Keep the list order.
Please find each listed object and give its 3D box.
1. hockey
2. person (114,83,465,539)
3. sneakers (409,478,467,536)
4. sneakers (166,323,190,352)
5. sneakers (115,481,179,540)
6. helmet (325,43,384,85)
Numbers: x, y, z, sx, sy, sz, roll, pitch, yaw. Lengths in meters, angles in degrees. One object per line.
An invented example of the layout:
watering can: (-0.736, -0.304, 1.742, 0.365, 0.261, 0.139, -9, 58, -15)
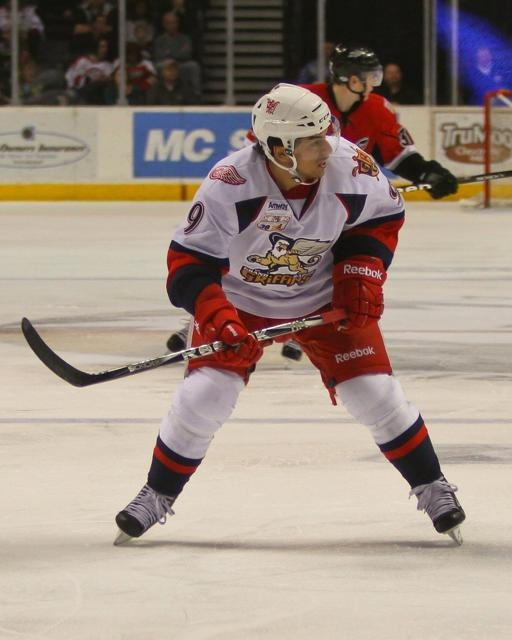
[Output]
hockey: (-0.137, 0.058, 2.266, 1.024, 0.147, 0.022, -2, 4, -41)
person: (0.073, -0.029, 1.876, 0.691, 0.944, 0.473, 0, 14, 0)
sneakers: (0.377, 0.385, 1.824, 0.068, 0.064, 0.150, -41, 10, 5)
sneakers: (-0.299, 0.067, 3.331, 0.055, 0.064, 0.147, 40, 29, -9)
sneakers: (-0.226, 0.399, 1.788, 0.081, 0.100, 0.111, 6, 14, 22)
helmet: (0.386, -1.040, 3.559, 0.265, 0.148, 0.164, -9, 20, -1)
